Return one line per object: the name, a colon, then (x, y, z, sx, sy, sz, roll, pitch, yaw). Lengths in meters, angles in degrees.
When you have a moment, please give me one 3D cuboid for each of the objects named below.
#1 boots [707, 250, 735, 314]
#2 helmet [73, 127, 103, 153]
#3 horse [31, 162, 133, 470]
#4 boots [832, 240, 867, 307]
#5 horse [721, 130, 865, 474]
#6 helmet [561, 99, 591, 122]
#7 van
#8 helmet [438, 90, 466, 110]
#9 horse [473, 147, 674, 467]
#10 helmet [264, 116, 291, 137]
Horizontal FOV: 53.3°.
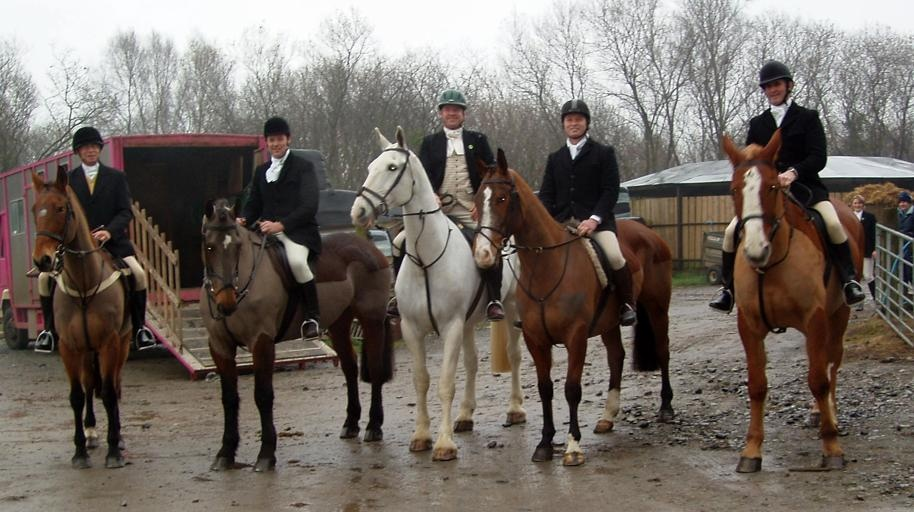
boots: (4.921, 0.440, 16.545, 0.726, 1.043, 0.288, -9, 30, -38)
helmet: (-7.089, -2.289, 17.479, 0.431, 0.429, 0.542, -8, -20, -25)
horse: (-6.729, 1.011, 16.629, 1.426, 5.312, 2.125, -5, 14, -11)
boots: (6.847, 0.293, 16.013, 0.230, 0.995, 0.405, -11, -7, -19)
horse: (5.659, 0.680, 15.583, 2.116, 5.611, 1.786, -2, 13, 0)
helmet: (2.213, -2.766, 16.940, 0.470, 0.353, 0.665, -1, -12, 6)
van: (-2.226, -0.858, 25.660, 3.721, 2.132, 0.985, 1, 4, 1)
helmet: (-0.091, -3.053, 17.603, 0.508, 0.366, 0.359, -3, 14, -3)
horse: (2.436, 1.148, 17.463, 1.758, 5.291, 6.841, -4, -2, 36)
helmet: (-3.326, -2.448, 16.988, 0.328, 0.341, 0.435, -1, 19, 9)
